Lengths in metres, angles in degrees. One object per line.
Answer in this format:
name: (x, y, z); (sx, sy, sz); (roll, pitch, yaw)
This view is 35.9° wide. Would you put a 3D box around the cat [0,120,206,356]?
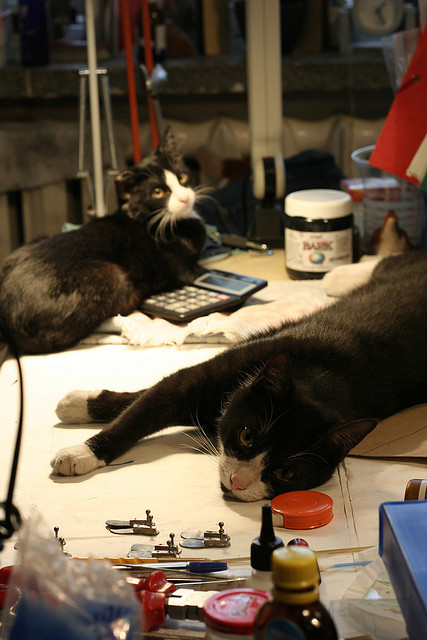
cat: (-0.160, -0.164, 1.085); (0.492, 0.266, 0.193); (-29, 44, -35)
